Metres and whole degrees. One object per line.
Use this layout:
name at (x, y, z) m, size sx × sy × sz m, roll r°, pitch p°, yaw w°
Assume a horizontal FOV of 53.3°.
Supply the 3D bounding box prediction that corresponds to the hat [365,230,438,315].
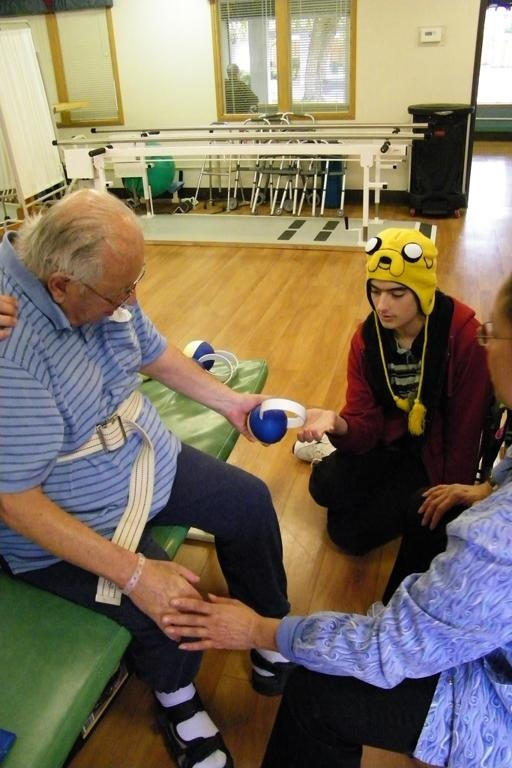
hat at (0.426, -0.335, 1.470) m, size 0.210 × 0.243 × 0.216 m, roll -5°, pitch 25°, yaw -7°

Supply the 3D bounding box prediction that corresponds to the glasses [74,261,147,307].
glasses at (-0.294, -0.176, 0.980) m, size 0.103 × 0.031 × 0.105 m, roll 21°, pitch 42°, yaw 41°

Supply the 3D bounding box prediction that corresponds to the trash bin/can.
trash bin/can at (1.875, -2.297, 5.221) m, size 0.642 × 1.033 × 0.446 m, roll 4°, pitch 29°, yaw 16°

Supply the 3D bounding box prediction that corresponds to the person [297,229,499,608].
person at (0.408, 0.041, 1.566) m, size 0.583 × 0.970 × 0.431 m, roll -6°, pitch 15°, yaw -12°

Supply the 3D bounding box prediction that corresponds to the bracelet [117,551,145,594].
bracelet at (-0.227, 0.353, 0.943) m, size 0.016 × 0.066 × 0.065 m, roll 20°, pitch 11°, yaw -11°
